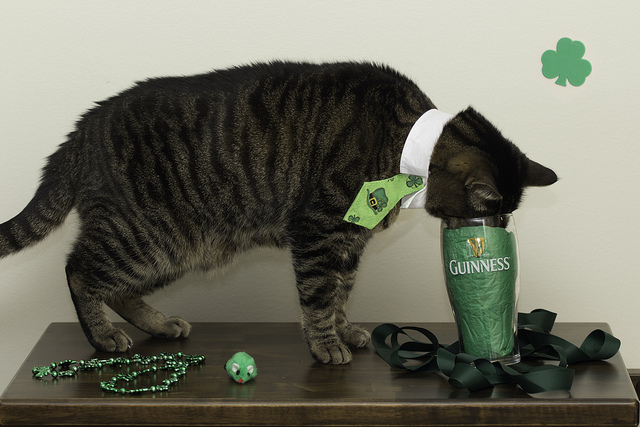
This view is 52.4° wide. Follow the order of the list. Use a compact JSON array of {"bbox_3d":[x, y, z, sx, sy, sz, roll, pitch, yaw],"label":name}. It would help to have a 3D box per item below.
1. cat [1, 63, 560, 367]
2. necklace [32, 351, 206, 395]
[{"bbox_3d":[-0.251,-0.019,1.660,1.027,0.708,0.341,1,14,8],"label":"cat"},{"bbox_3d":[-0.460,0.366,1.535,0.236,0.017,0.130,-3,18,-2],"label":"necklace"}]
